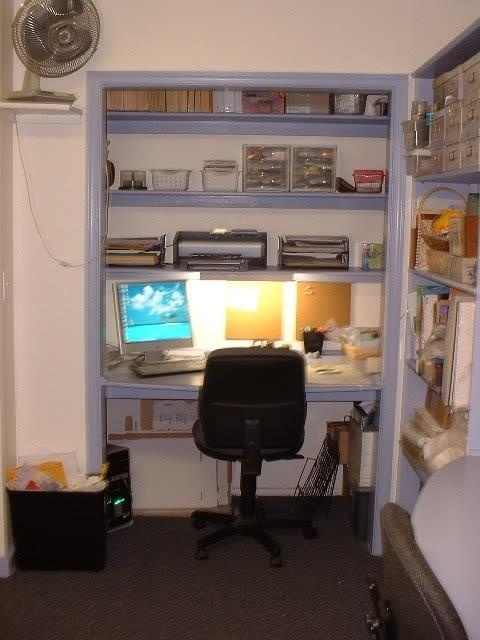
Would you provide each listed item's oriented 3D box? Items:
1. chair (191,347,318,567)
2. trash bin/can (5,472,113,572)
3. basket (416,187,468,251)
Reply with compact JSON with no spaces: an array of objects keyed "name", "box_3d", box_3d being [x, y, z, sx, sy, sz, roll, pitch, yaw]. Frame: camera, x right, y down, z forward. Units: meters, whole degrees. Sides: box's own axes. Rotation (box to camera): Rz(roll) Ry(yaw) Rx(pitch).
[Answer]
[{"name":"chair","box_3d":[0.069,0.608,2.486,0.564,1.042,0.520,0,6,-4]},{"name":"trash bin/can","box_3d":[-0.777,0.907,2.436,0.396,0.369,0.392,0,-1,-4]},{"name":"basket","box_3d":[0.828,-0.430,2.258,0.197,0.290,0.549,3,7,22]}]
